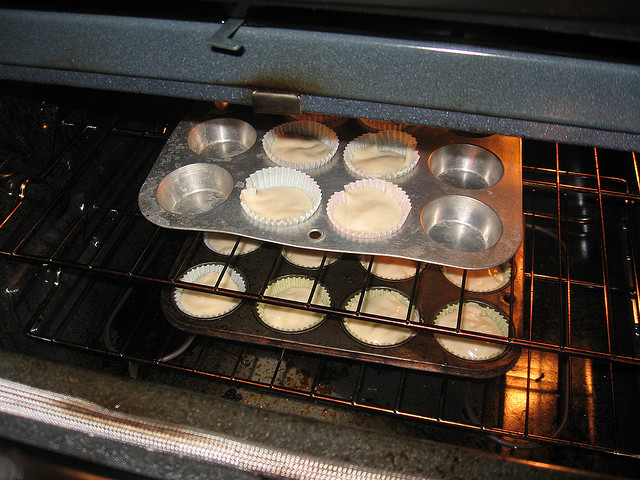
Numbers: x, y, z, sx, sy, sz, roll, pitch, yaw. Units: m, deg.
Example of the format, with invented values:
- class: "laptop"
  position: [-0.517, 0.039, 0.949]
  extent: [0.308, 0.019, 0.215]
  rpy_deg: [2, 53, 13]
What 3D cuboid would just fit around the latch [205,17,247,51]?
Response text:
- class: "latch"
  position: [-0.184, -0.436, 1.201]
  extent: [0.067, 0.029, 0.094]
  rpy_deg: [31, 62, 8]
